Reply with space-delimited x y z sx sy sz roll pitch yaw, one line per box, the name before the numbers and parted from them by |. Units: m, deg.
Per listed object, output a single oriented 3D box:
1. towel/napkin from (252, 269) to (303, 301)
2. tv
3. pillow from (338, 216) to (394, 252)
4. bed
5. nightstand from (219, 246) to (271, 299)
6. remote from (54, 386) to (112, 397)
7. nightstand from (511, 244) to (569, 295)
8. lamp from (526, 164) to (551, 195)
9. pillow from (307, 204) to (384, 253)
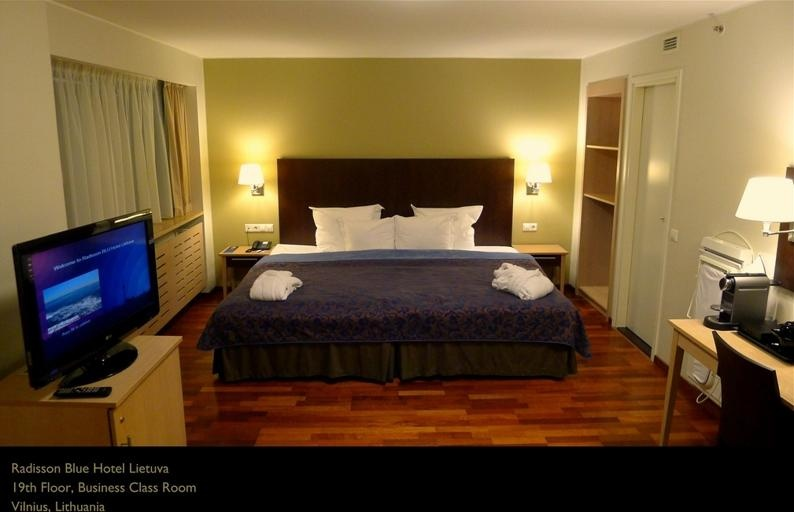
towel/napkin | -1.086 0.258 4.866 0.271 0.097 0.326 0 16 0
tv | -1.825 0.245 3.346 0.350 0.907 1.187 9 15 6
pillow | -0.290 -0.251 6.192 0.447 0.389 0.121 1 -24 -7
bed | -0.006 -0.045 5.664 3.369 1.991 2.403 1 10 -2
nightstand | -1.833 0.223 6.635 0.550 0.485 0.437 0 2 -1
remote | -1.733 0.753 2.982 0.242 0.035 0.107 1 9 -4
nightstand | 1.781 0.079 6.657 0.657 0.590 0.637 0 16 3
lamp | 1.716 -0.958 6.636 0.330 0.433 0.354 -1 13 0
pillow | -0.728 -0.377 6.283 0.659 0.590 0.185 -1 -27 1
